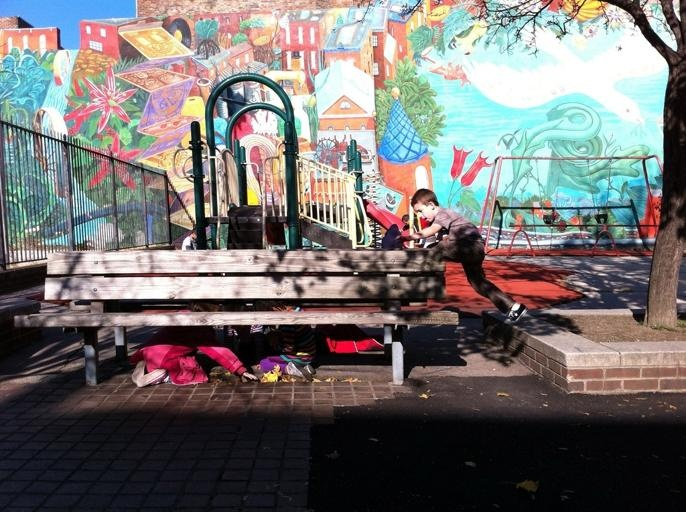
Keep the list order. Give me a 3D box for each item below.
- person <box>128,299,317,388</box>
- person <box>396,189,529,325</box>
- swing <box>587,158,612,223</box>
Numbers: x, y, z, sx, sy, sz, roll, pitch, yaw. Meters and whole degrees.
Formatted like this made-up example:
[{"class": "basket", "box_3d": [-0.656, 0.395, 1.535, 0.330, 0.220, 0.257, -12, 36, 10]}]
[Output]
[{"class": "person", "box_3d": [-1.489, 0.968, 5.237, 1.083, 0.484, 0.438, -2, 9, -12]}, {"class": "person", "box_3d": [1.382, 0.016, 6.519, 1.514, 1.490, 0.552, 0, 0, -2]}, {"class": "swing", "box_3d": [10.401, -2.620, 21.931, 0.930, 2.546, 1.317, 4, 11, 24]}]
